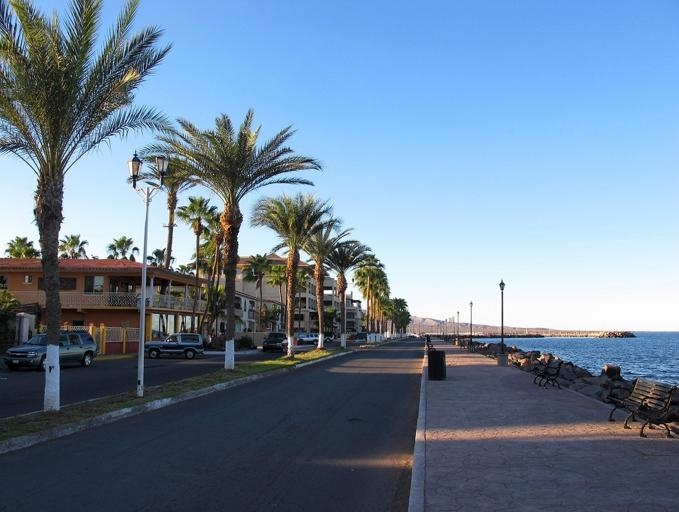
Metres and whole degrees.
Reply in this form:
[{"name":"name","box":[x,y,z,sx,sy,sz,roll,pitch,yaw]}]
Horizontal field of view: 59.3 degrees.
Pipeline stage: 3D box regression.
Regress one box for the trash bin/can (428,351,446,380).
[{"name":"trash bin/can","box":[4.018,4.393,24.562,0.906,1.512,1.080,-3,-8,22]}]

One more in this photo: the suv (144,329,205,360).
[{"name":"suv","box":[-11.777,6.201,42.536,3.426,1.610,1.987,3,-8,-2]}]

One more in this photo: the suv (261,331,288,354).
[{"name":"suv","box":[-5.757,7.390,52.439,1.901,1.841,2.671,1,-9,-2]}]

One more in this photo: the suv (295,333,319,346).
[{"name":"suv","box":[-5.282,12.345,93.831,3.388,1.872,2.120,2,-8,2]}]

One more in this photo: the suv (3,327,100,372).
[{"name":"suv","box":[-14.347,4.570,29.871,2.567,1.946,4.861,1,-9,-3]}]
